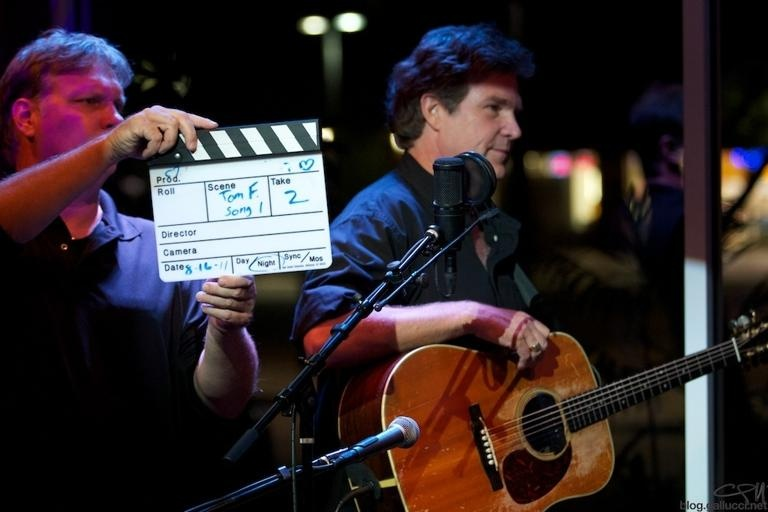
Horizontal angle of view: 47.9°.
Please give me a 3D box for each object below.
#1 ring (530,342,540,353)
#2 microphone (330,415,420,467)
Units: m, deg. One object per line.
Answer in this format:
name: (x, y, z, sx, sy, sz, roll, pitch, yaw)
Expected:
ring: (0.719, 0.438, 4.145, 0.039, 0.013, 0.053, -21, -10, -33)
microphone: (0.015, 0.729, 3.627, 0.520, 0.144, 0.140, -13, 22, -42)
